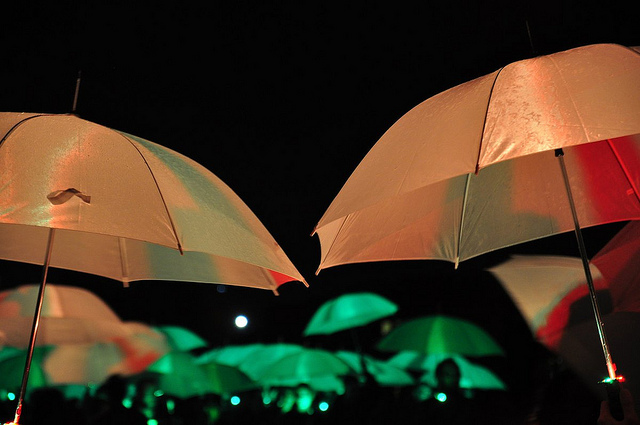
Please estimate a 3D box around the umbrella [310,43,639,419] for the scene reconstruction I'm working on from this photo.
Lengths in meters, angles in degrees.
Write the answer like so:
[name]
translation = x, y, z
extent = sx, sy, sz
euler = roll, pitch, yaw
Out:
[umbrella]
translation = 1.136, 0.142, 3.885
extent = 2.119, 2.153, 1.128
euler = -4, -28, 9
